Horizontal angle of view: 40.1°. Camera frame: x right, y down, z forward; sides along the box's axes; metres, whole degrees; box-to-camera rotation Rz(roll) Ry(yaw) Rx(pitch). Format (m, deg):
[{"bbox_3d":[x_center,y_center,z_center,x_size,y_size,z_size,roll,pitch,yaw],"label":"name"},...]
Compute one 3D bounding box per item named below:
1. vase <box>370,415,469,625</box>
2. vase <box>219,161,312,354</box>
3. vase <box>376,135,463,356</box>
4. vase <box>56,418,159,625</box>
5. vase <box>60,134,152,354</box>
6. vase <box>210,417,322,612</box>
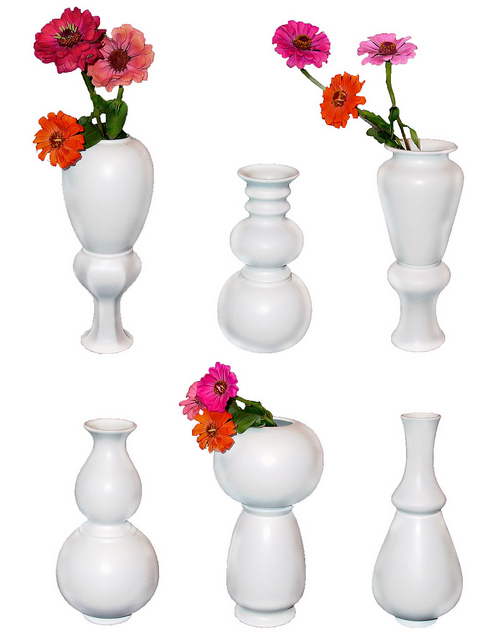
[{"bbox_3d":[0.551,0.633,2.135,0.236,0.674,0.272,-7,11,-35],"label":"vase"},{"bbox_3d":[0.093,-0.209,2.379,0.320,0.666,0.350,-4,9,-19],"label":"vase"},{"bbox_3d":[0.596,-0.257,2.426,0.282,0.753,0.258,2,9,16],"label":"vase"},{"bbox_3d":[-0.424,0.618,2.151,0.375,0.707,0.254,7,12,42],"label":"vase"},{"bbox_3d":[-0.499,-0.265,2.476,0.306,0.778,0.345,-3,9,-14],"label":"vase"},{"bbox_3d":[0.079,0.615,2.152,0.326,0.594,0.216,-5,10,-26],"label":"vase"}]
